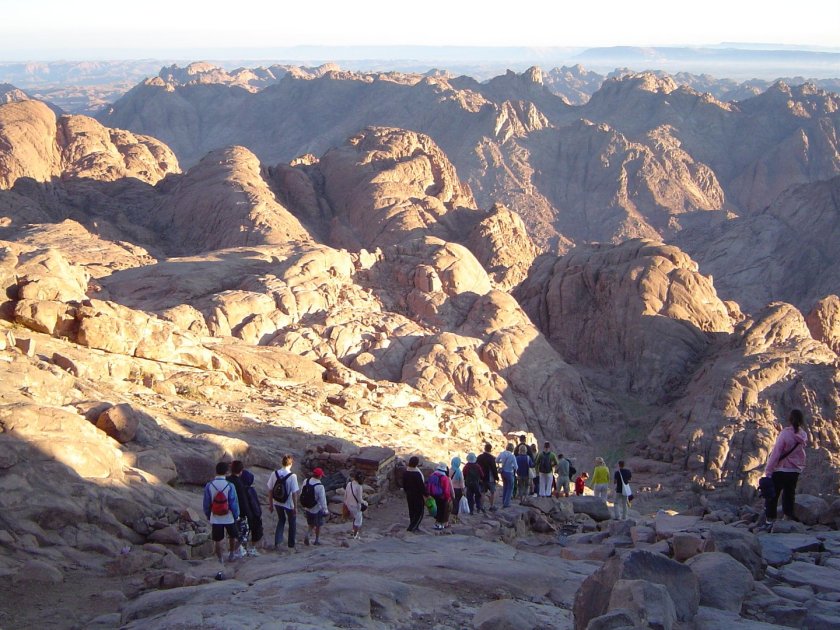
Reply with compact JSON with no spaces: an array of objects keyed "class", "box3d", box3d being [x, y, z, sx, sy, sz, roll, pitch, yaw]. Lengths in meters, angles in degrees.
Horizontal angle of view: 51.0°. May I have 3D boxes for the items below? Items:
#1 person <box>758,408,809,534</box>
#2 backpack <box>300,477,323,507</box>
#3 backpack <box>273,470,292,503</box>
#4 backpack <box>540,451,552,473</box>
[{"class":"person","box3d":[6.844,2.905,16.698,0.672,2.495,0.830,4,14,21]},{"class":"backpack","box3d":[-2.103,3.446,16.985,0.375,0.573,0.256,-1,13,5]},{"class":"backpack","box3d":[-2.572,3.240,16.559,0.335,0.553,0.147,1,14,10]},{"class":"backpack","box3d":[3.042,3.604,21.603,0.327,0.493,0.235,-1,13,1]}]
